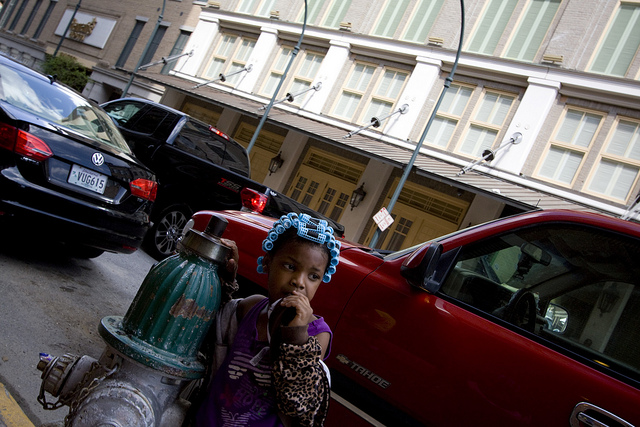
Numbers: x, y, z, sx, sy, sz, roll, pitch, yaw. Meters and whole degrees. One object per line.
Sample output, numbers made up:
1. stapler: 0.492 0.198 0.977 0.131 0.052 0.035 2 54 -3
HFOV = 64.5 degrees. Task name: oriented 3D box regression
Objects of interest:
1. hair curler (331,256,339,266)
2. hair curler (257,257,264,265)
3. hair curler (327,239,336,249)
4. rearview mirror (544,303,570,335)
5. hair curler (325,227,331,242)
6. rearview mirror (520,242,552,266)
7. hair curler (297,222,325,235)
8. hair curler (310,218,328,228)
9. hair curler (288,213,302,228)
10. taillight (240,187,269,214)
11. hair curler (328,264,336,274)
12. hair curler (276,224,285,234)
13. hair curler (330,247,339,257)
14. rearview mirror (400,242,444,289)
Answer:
1. hair curler: 0.078 0.248 2.699 0.042 0.044 0.040 -11 7 8
2. hair curler: -0.333 0.255 2.826 0.026 0.044 0.138 23 2 -6
3. hair curler: 0.058 0.160 2.678 0.031 0.045 0.041 3 -1 -9
4. rearview mirror: 1.560 0.692 3.324 0.163 0.230 0.023 8 -17 25
5. hair curler: 0.042 0.114 2.676 0.018 0.058 0.057 6 31 5
6. rearview mirror: 1.493 0.274 3.502 0.194 0.114 0.048 43 6 32
7. hair curler: -0.052 0.086 2.674 0.095 0.035 0.072 6 24 -29
8. hair curler: 0.012 0.043 2.716 0.057 0.023 0.018 35 4 40
9. hair curler: -0.141 0.036 2.689 0.046 0.079 0.024 -24 -14 16
10. taillight: -1.026 -0.200 7.736 0.467 0.395 0.214 12 -3 -1
11. hair curler: 0.063 0.296 2.724 0.037 0.040 0.040 12 -1 -2
12. hair curler: -0.213 0.081 2.704 0.047 0.053 0.029 -1 6 -12
13. hair curler: 0.075 0.202 2.693 0.041 0.049 0.042 2 -9 -3
14. rearview mirror: 0.727 0.363 3.625 0.197 0.344 0.349 7 10 17
